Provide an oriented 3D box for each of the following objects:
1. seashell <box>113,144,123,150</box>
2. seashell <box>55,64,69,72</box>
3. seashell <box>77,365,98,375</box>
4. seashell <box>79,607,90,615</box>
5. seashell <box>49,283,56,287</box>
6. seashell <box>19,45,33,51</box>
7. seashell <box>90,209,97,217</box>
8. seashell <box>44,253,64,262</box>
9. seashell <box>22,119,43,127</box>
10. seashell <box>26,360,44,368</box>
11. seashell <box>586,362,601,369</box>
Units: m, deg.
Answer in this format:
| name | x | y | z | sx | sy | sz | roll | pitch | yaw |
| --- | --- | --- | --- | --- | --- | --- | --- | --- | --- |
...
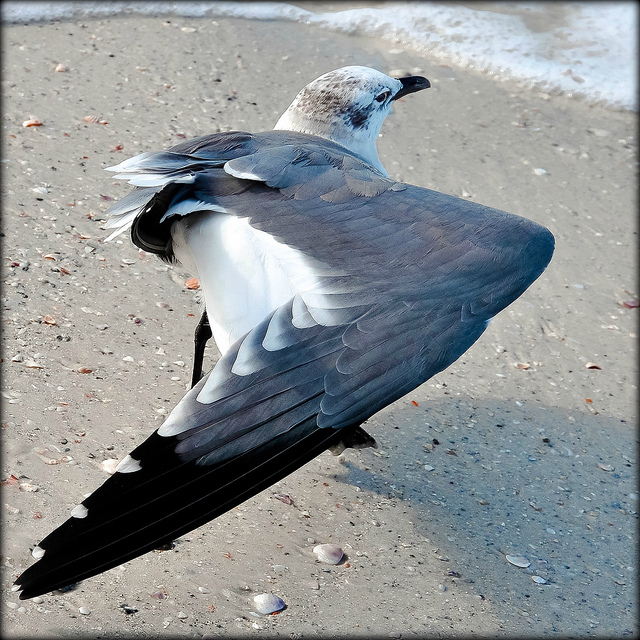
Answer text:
| name | x | y | z | sx | sy | sz | roll | pitch | yaw |
| --- | --- | --- | --- | --- | --- | --- | --- | --- | --- |
| seashell | -1.138 | -0.968 | 5.024 | 0.047 | 0.032 | 0.018 | 12 | -10 | 24 |
| seashell | -1.637 | -1.590 | 5.680 | 0.100 | 0.020 | 0.056 | -2 | 50 | -9 |
| seashell | -0.955 | 0.196 | 3.652 | 0.058 | 0.009 | 0.039 | -12 | 26 | -32 |
| seashell | -0.741 | 0.902 | 2.808 | 0.030 | 0.005 | 0.024 | -1 | 31 | -11 |
| seashell | -1.203 | -0.159 | 4.010 | 0.024 | 0.011 | 0.052 | 12 | -2 | -34 |
| seashell | -1.923 | -1.763 | 5.836 | 0.071 | 0.012 | 0.048 | 1 | 36 | 1 |
| seashell | -1.142 | -0.536 | 4.483 | 0.049 | 0.028 | 0.025 | 0 | -1 | 12 |
| seashell | -1.242 | -0.292 | 4.173 | 0.069 | 0.013 | 0.036 | 15 | 36 | -2 |
| seashell | -1.630 | -1.110 | 5.062 | 0.099 | 0.027 | 0.057 | -9 | 31 | -24 |
| seashell | -1.152 | 0.174 | 3.612 | 0.051 | 0.008 | 0.029 | 17 | 18 | -2 |
| seashell | 1.300 | 0.213 | 4.291 | 0.072 | 0.013 | 0.043 | 7 | 31 | 3 |
